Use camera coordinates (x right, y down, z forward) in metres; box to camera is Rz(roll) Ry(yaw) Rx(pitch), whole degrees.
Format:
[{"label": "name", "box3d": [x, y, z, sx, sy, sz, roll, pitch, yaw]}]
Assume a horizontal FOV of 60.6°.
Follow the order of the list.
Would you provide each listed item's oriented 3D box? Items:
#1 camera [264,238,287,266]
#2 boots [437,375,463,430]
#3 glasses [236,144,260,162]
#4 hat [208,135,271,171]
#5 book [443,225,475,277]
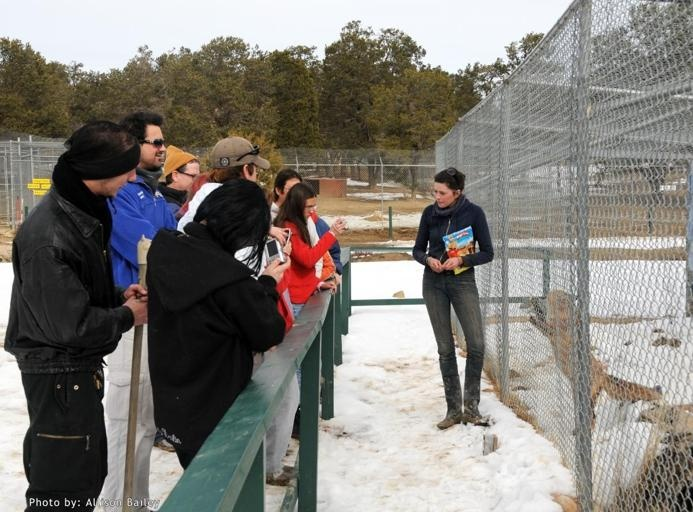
[{"label": "camera", "box3d": [-0.400, -0.017, 3.277, 0.090, 0.179, 0.042, -27, -35, 17]}, {"label": "boots", "box3d": [0.863, 1.208, 4.901, 0.206, 0.404, 0.246, 2, 8, 11]}, {"label": "glasses", "box3d": [-0.673, -0.724, 4.082, 0.138, 0.036, 0.122, -35, 29, -17]}, {"label": "hat", "box3d": [-0.745, -0.720, 4.146, 0.380, 0.240, 0.294, -9, 17, -27]}, {"label": "book", "box3d": [0.974, -0.057, 5.022, 0.250, 0.360, 0.043, -18, 32, -3]}]
